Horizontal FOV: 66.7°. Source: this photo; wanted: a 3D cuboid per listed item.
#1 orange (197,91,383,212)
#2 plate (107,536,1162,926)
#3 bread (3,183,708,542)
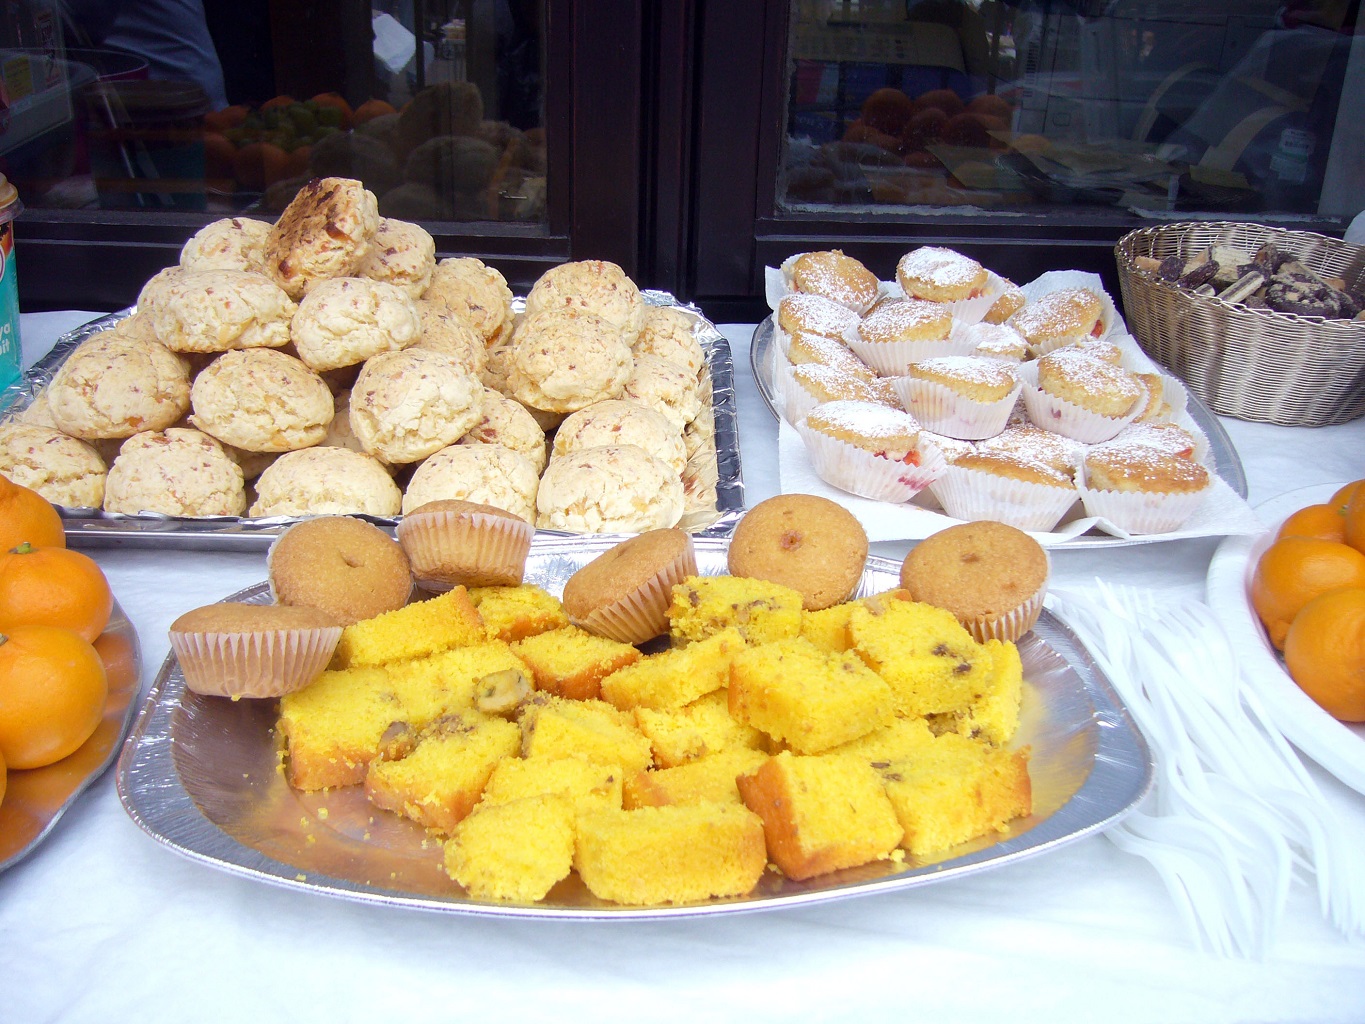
[{"bbox_3d":[-0.911,-0.820,2.378,0.291,0.230,0.101,-21,14,1],"label":"orange"},{"bbox_3d":[-0.052,0.169,0.877,0.643,0.053,0.352,-2,30,-5],"label":"plate"},{"bbox_3d":[-0.453,-0.127,1.606,1.134,0.294,0.605,2,40,-5],"label":"bread"}]
